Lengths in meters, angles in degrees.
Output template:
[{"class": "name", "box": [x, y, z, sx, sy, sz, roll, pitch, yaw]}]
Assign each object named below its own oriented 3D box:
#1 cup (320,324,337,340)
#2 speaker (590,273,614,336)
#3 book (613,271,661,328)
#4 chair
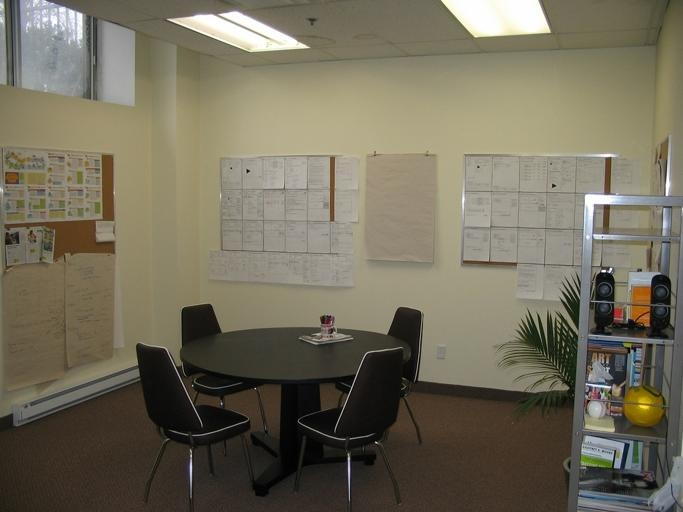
[{"class": "cup", "box": [-0.113, 0.605, 4.039, 0.109, 0.092, 0.091, -1, -1, 21]}, {"class": "speaker", "box": [1.430, 0.234, 2.757, 0.095, 0.319, 0.267, 2, 6, 28]}, {"class": "book", "box": [1.711, 0.255, 2.926, 0.221, 0.462, 0.236, 6, 9, 38]}, {"class": "chair", "box": [-0.560, 0.829, 3.720, 1.265, 0.923, 1.398, 1, 5, 17]}]
